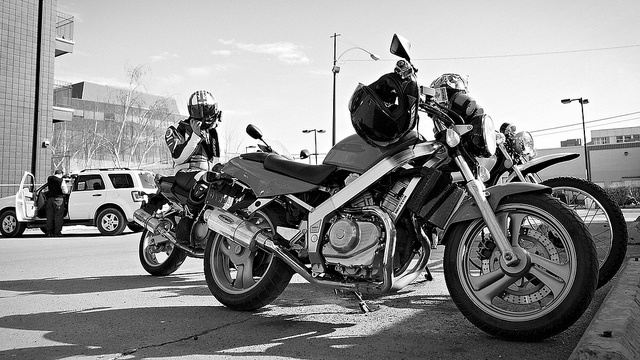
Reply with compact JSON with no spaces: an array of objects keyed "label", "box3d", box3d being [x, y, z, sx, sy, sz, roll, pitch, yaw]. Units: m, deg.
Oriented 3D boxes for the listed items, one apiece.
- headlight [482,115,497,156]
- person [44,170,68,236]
[{"label":"headlight","box3d":[2.203,-0.584,5.517,0.173,0.519,0.468,1,3,23]},{"label":"person","box3d":[-10.628,0.945,17.227,0.668,2.707,1.133,-3,4,-44]}]
